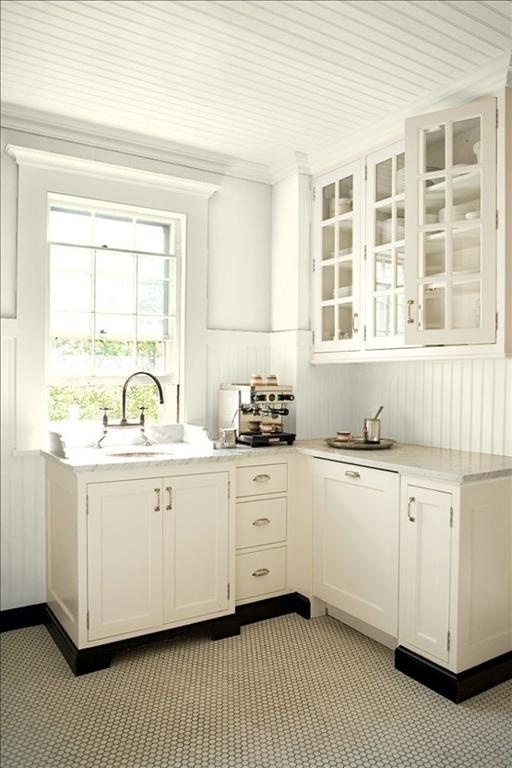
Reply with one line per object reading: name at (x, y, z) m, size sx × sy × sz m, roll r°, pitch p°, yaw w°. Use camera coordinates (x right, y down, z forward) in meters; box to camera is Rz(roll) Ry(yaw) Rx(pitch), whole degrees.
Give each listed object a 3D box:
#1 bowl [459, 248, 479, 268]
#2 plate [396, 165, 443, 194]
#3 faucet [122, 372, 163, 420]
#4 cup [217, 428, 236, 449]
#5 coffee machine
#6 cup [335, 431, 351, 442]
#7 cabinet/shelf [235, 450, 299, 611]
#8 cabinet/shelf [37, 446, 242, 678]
bowl at (0.877, -0.514, 2.374) m, size 0.039 × 0.082 × 0.077 m, roll -5°, pitch 7°, yaw -35°
plate at (0.712, -0.916, 2.544) m, size 0.176 × 0.072 × 0.168 m, roll -1°, pitch 0°, yaw 29°
faucet at (-0.587, 0.066, 2.979) m, size 0.197 × 0.270 × 0.523 m, roll 0°, pitch 0°, yaw -12°
cup at (-0.147, 0.276, 2.857) m, size 0.090 × 0.085 × 0.071 m, roll -1°, pitch 4°, yaw -31°
coffee machine at (0.002, 0.168, 3.212) m, size 0.279 × 0.356 × 0.453 m, roll 0°, pitch -1°, yaw -31°
cup at (0.464, 0.278, 3.064) m, size 0.057 × 0.044 × 0.058 m, roll 1°, pitch 5°, yaw 0°
cabinet/shelf at (0.089, 0.788, 2.977) m, size 0.409 × 0.705 × 0.373 m, roll -20°, pitch -36°, yaw 32°
cabinet/shelf at (-0.524, 0.733, 2.654) m, size 0.723 × 0.844 × 0.563 m, roll -1°, pitch 4°, yaw -30°
